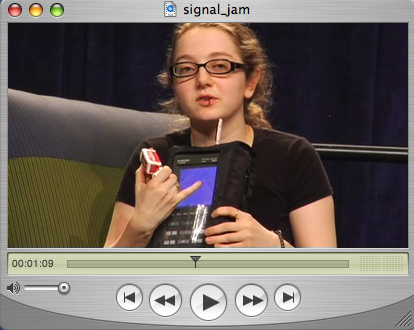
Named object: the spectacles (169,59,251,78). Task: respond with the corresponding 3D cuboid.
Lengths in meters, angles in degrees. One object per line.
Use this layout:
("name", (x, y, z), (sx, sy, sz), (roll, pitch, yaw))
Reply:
("spectacles", (-0.012, -0.279, 1.197), (0.188, 0.063, 0.037), (3, -9, -5))
